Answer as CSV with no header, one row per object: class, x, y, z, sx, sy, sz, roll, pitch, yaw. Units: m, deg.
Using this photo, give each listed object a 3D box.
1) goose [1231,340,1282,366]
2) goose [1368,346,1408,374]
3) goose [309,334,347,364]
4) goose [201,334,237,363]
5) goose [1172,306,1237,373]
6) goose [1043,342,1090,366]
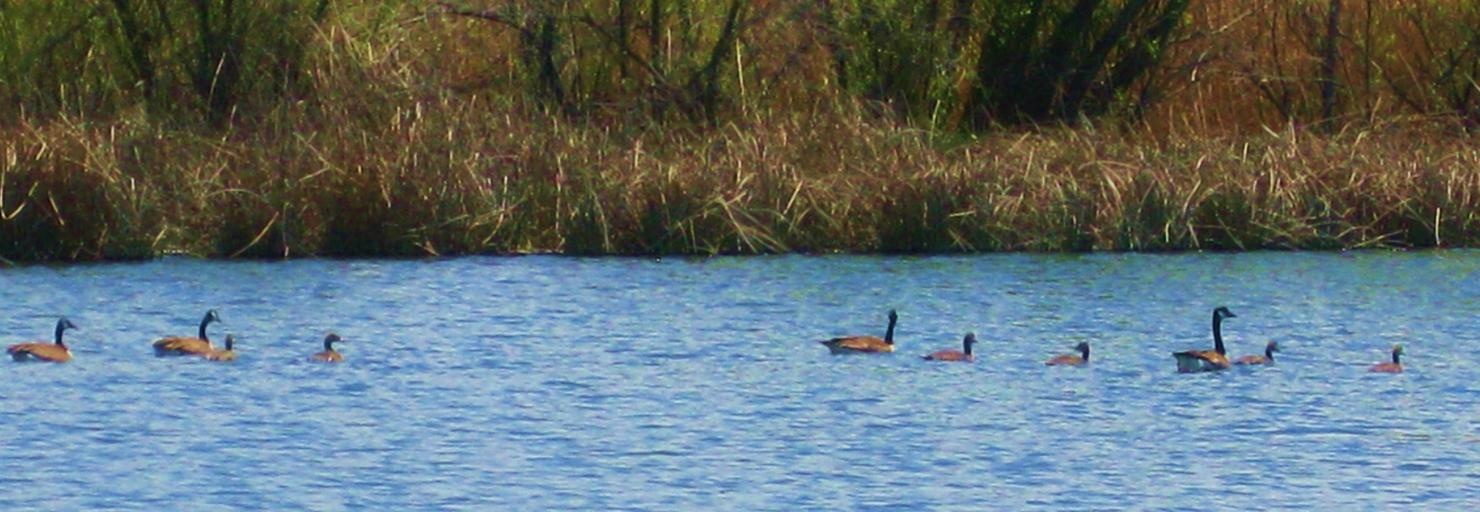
goose,15.389,2.884,64.497,1.989,0.643,0.576,-8,14,-28
goose,19.374,3.004,64.361,1.029,0.822,0.821,2,-3,13
goose,-12.257,2.688,64.821,1.025,0.834,0.758,3,-2,-8
goose,-15.312,2.686,64.789,0.870,0.829,0.875,3,-2,10
goose,14.213,2.450,64.897,1.468,1.964,2.420,2,-2,25
goose,9.939,2.854,64.612,1.239,0.765,0.622,3,-3,4
